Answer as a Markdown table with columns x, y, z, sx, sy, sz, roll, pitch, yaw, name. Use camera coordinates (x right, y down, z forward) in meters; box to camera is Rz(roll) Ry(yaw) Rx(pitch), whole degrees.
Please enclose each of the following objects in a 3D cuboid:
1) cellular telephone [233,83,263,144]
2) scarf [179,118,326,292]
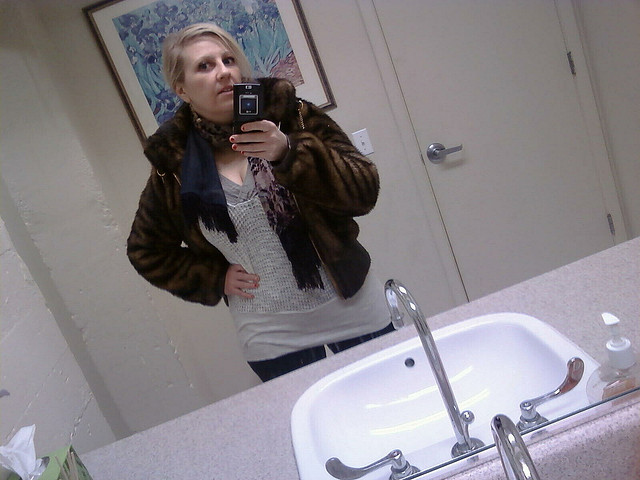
| x | y | z | sx | sy | sz | roll | pitch | yaw | name |
| --- | --- | --- | --- | --- | --- | --- | --- | --- | --- |
| -0.136 | -0.233 | 0.832 | 0.068 | 0.122 | 0.069 | 3 | -30 | -16 | cellular telephone |
| -0.185 | -0.073 | 0.881 | 0.223 | 0.359 | 0.075 | -5 | 10 | 1 | scarf |
